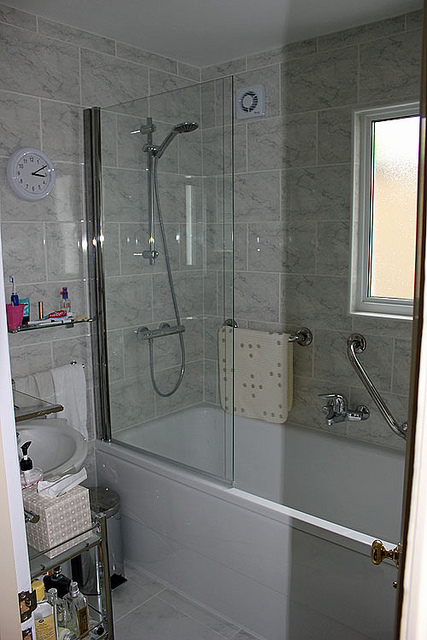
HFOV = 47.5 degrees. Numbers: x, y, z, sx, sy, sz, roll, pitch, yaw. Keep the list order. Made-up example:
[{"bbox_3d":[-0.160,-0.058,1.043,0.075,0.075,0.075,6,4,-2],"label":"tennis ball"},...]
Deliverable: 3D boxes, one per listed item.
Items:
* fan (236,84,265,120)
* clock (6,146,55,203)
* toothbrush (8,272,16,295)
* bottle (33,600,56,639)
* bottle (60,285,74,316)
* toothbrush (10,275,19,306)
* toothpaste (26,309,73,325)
[{"bbox_3d":[0.212,-1.271,2.828,0.065,0.184,0.210,-10,11,-43],"label":"fan"},{"bbox_3d":[-0.824,-0.651,2.178,0.070,0.218,0.220,2,9,27],"label":"clock"},{"bbox_3d":[-0.905,-0.164,2.171,0.009,0.094,0.039,2,9,26],"label":"toothbrush"},{"bbox_3d":[-0.403,0.713,1.156,0.045,0.120,0.034,-6,9,-23],"label":"bottle"},{"bbox_3d":[-0.721,-0.096,2.364,0.061,0.141,0.150,-4,9,-16],"label":"bottle"},{"bbox_3d":[-0.876,-0.131,2.126,0.027,0.127,0.140,-5,9,-22],"label":"toothbrush"},{"bbox_3d":[-0.770,-0.010,2.250,0.199,0.055,0.027,-18,13,-40],"label":"toothpaste"}]
